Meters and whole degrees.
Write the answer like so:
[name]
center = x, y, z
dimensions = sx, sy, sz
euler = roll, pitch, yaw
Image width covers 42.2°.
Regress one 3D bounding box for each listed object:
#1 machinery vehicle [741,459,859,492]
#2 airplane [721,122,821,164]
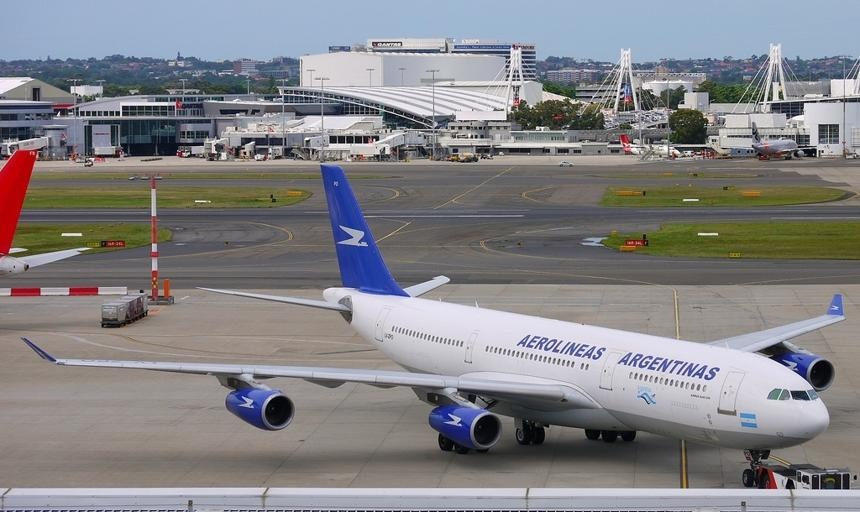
[machinery vehicle]
center = 16.034, 9.767, 48.737
dimensions = 4.218, 1.272, 1.490
euler = 5, 14, 31
[airplane]
center = 64.674, -21.759, 211.273
dimensions = 15.480, 6.713, 37.240
euler = 1, 9, 11
